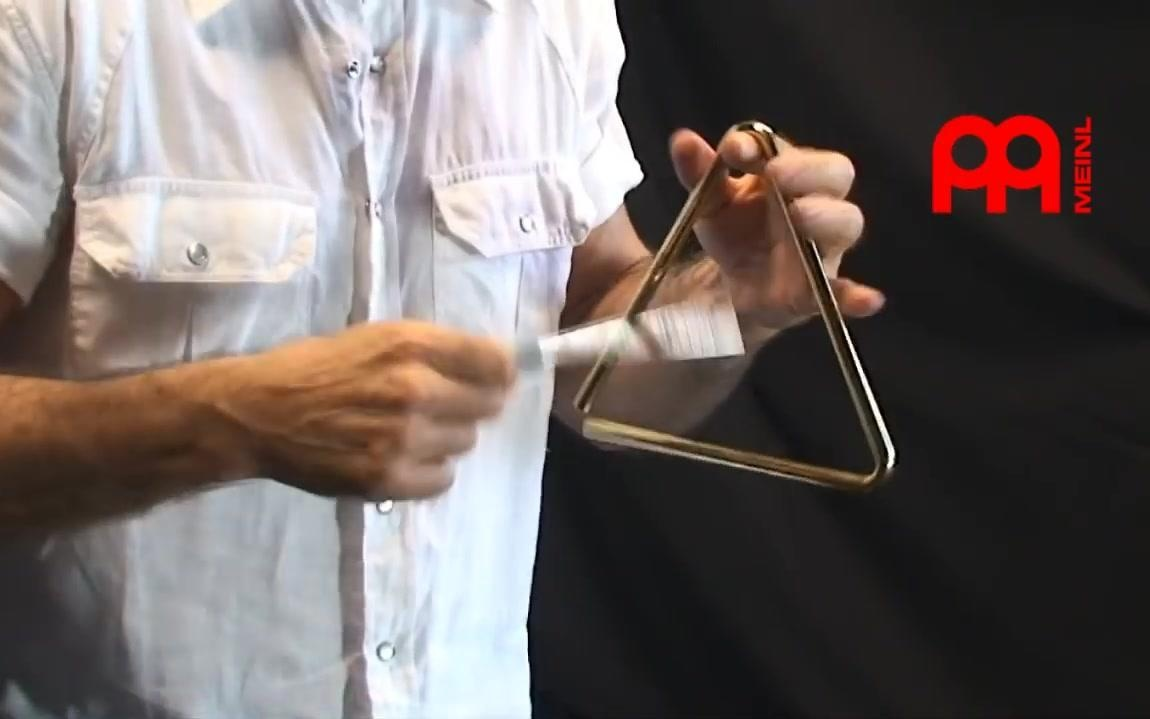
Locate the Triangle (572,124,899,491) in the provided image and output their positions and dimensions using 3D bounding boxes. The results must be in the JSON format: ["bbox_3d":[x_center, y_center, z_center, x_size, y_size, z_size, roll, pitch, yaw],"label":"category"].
[{"bbox_3d":[0.117,-0.036,1.019,0.269,0.030,0.316,12,86,17],"label":"Triangle"}]
